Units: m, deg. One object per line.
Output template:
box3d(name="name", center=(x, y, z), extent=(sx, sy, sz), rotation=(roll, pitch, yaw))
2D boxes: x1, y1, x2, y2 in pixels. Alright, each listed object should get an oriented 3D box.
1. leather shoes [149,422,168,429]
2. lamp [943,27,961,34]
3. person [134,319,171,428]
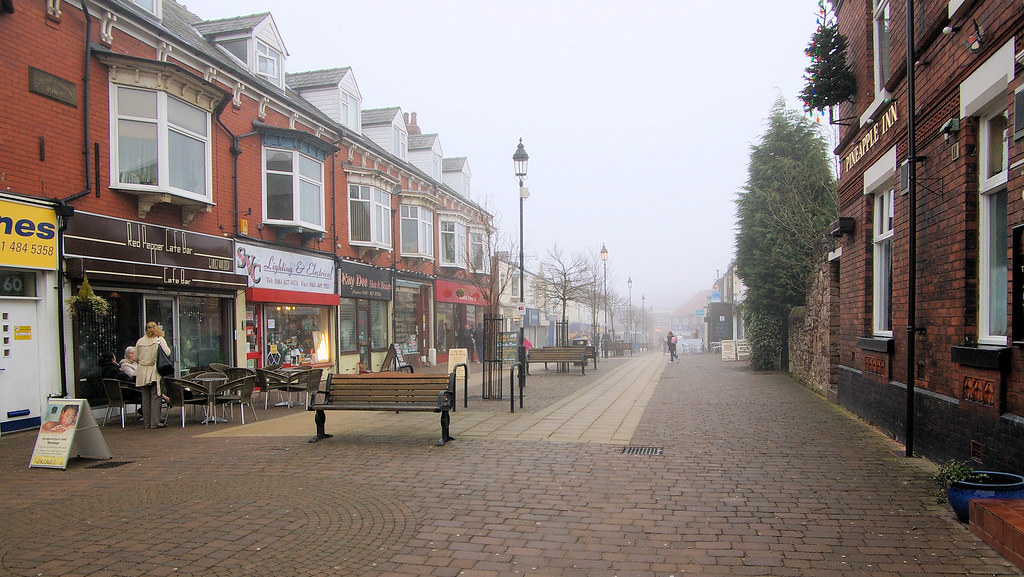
box3d(name="leather shoes", center=(-8.617, 3.291, 19.863), extent=(0.359, 0.133, 0.253), rotation=(0, -9, -24))
box3d(name="lamp", center=(8.563, -5.041, 16.007), extent=(0.210, 0.080, 0.161), rotation=(0, -8, -7))
box3d(name="person", center=(-8.900, 1.993, 20.240), extent=(0.823, 2.225, 0.765), rotation=(0, 5, 1))
